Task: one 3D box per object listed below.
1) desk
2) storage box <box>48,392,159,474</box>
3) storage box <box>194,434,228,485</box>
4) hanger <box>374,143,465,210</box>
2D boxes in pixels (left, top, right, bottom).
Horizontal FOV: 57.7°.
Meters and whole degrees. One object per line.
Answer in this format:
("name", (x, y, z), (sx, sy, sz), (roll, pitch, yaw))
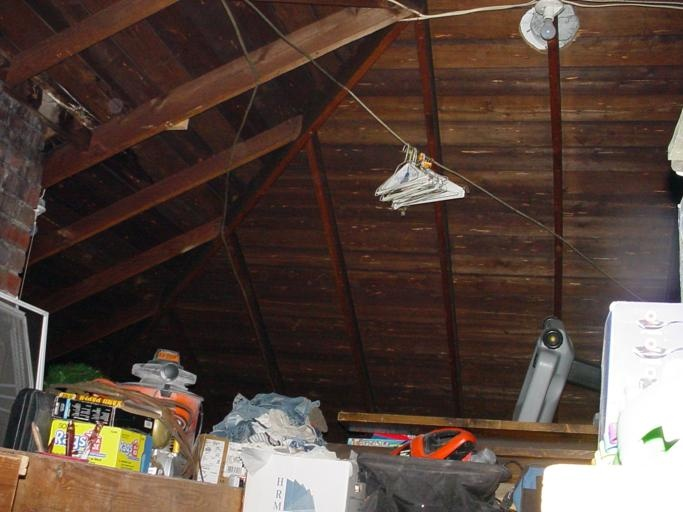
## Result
("desk", (0.647, 0.890, 3.023), (1.200, 0.209, 0.432), (-8, -25, 27))
("storage box", (-0.814, 0.595, 2.101), (0.368, 0.231, 0.152), (15, -27, -21))
("storage box", (-0.672, 0.989, 3.044), (0.125, 0.218, 0.154), (-9, -30, 29))
("hanger", (0.485, -0.539, 4.003), (0.505, 0.241, 0.449), (-6, -34, 18))
